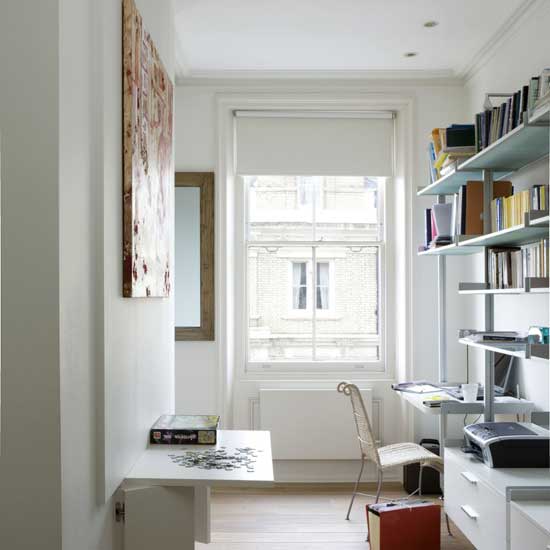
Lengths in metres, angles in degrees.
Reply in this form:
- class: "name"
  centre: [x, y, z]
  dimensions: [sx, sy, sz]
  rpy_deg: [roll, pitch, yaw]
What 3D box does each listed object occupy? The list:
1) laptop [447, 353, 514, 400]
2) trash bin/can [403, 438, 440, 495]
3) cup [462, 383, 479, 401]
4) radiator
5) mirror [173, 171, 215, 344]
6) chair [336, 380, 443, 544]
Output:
- class: "laptop"
  centre: [1.247, 0.598, 3.535]
  dimensions: [0.214, 0.247, 0.332]
  rpy_deg: [1, -4, 1]
- class: "trash bin/can"
  centre: [0.973, 1.276, 3.975]
  dimensions: [0.249, 0.446, 0.283]
  rpy_deg: [1, -3, 5]
- class: "cup"
  centre: [1.108, 0.670, 3.397]
  dimensions: [0.090, 0.102, 0.100]
  rpy_deg: [0, -6, 1]
- class: "radiator"
  centre: [0.285, 1.037, 4.032]
  dimensions: [0.544, 0.422, 0.065]
  rpy_deg: [-1, 1, 0]
- class: "mirror"
  centre: [-0.551, -0.125, 4.124]
  dimensions: [0.275, 1.167, 0.153]
  rpy_deg: [1, 3, -10]
- class: "chair"
  centre: [0.677, 1.069, 3.516]
  dimensions: [0.590, 0.860, 0.414]
  rpy_deg: [-1, -6, -9]
